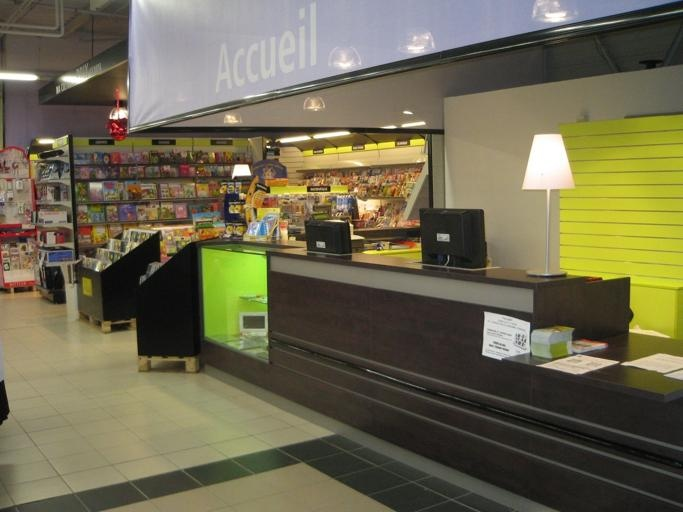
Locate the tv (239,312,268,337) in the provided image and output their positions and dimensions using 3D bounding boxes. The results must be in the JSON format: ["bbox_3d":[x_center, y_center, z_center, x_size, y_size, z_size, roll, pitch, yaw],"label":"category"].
[{"bbox_3d":[-0.956,0.757,5.544,0.369,0.267,0.176,-2,-5,17],"label":"tv"}]

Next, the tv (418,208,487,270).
[{"bbox_3d":[0.802,-0.123,3.587,0.450,0.344,0.161,10,21,44],"label":"tv"}]

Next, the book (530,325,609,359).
[{"bbox_3d":[1.244,0.459,2.813,0.313,0.088,0.216,-2,3,-25],"label":"book"}]

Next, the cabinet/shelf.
[{"bbox_3d":[-2.190,-0.272,7.923,5.594,3.187,2.912,-3,4,-34],"label":"cabinet/shelf"}]
